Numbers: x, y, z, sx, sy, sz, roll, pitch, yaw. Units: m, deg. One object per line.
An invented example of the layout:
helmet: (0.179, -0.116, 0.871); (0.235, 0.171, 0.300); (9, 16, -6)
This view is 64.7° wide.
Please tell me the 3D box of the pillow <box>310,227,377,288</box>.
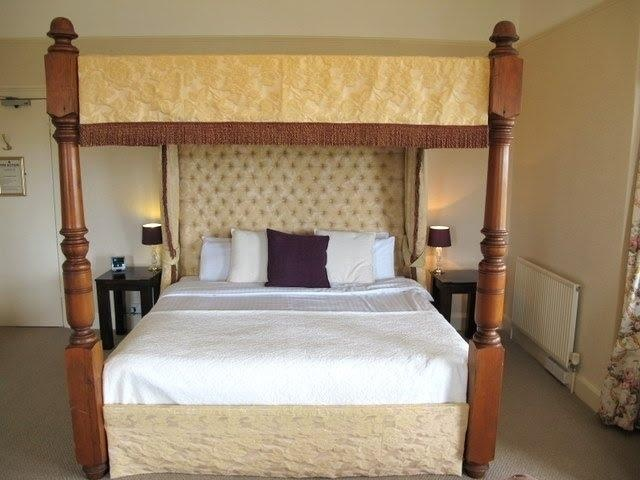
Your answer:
pillow: (0.221, 0.188, 4.739); (0.453, 0.462, 0.178); (1, -17, 0)

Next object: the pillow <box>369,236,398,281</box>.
pillow: (0.624, 0.188, 4.949); (0.349, 0.354, 0.105); (2, -3, -21)

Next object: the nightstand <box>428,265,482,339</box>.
nightstand: (1.290, 0.646, 5.301); (0.609, 0.786, 0.640); (0, 3, -1)

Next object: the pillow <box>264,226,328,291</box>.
pillow: (-0.223, 0.198, 4.637); (0.501, 0.501, 0.195); (3, -34, -6)

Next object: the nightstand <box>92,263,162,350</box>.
nightstand: (-1.932, 0.670, 5.316); (0.728, 0.993, 0.777); (0, 5, -5)

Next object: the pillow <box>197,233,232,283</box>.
pillow: (-1.010, 0.186, 4.894); (0.377, 0.371, 0.116); (0, -10, 7)
